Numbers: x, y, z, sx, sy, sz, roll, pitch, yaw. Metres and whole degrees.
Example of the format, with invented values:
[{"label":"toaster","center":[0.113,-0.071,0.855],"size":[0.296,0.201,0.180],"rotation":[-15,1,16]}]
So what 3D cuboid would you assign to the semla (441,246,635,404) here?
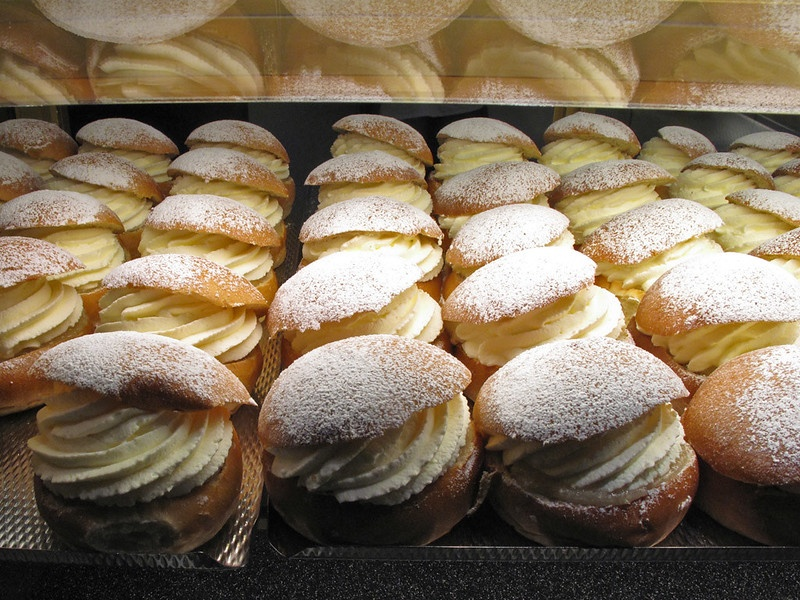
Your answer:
[{"label":"semla","center":[0.391,0.004,2.398],"size":[0.566,0.237,0.464],"rotation":[-2,21,-14]}]
